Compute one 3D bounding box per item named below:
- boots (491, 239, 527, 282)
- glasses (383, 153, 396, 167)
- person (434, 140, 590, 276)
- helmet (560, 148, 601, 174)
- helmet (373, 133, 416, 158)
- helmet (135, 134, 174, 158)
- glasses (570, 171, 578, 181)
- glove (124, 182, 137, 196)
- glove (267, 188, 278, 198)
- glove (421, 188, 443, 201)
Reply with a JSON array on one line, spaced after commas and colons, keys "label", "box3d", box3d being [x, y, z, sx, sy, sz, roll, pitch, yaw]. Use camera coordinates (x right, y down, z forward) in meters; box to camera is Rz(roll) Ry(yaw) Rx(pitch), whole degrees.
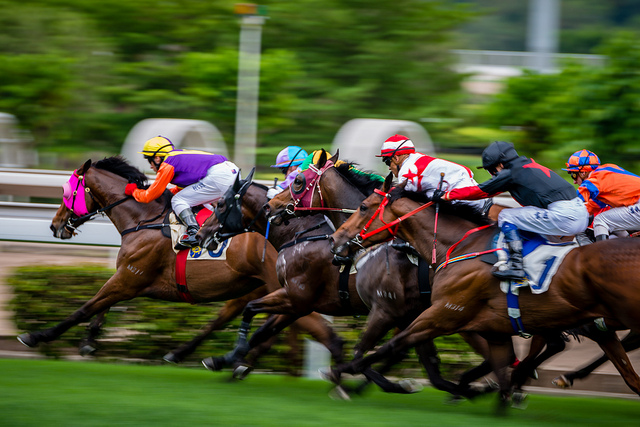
[{"label": "boots", "box3d": [1.786, 0.430, 9.229, 0.281, 0.362, 0.162, 4, 6, 12]}, {"label": "glasses", "box3d": [0.723, -0.552, 10.301, 0.107, 0.095, 0.066, -5, 13, 19]}, {"label": "person", "box3d": [1.894, -0.042, 9.347, 1.254, 1.275, 0.517, 4, 6, 8]}, {"label": "helmet", "box3d": [2.815, -0.560, 10.685, 0.454, 0.189, 0.272, 2, 9, 19]}, {"label": "helmet", "box3d": [0.793, -0.701, 10.296, 0.431, 0.163, 0.242, 3, 2, 9]}, {"label": "helmet", "box3d": [-1.880, -0.764, 11.145, 0.423, 0.165, 0.230, 5, 17, -4]}, {"label": "glasses", "box3d": [2.773, -0.410, 10.766, 0.076, 0.101, 0.086, -27, 2, 8]}, {"label": "glove", "box3d": [-2.143, -0.281, 11.222, 0.179, 0.122, 0.051, 4, -16, 28]}, {"label": "glove", "box3d": [-0.537, -0.227, 10.793, 0.119, 0.039, 0.121, -23, 37, -24]}, {"label": "glove", "box3d": [1.108, -0.188, 9.695, 0.191, 0.044, 0.165, -3, 9, 24]}]
